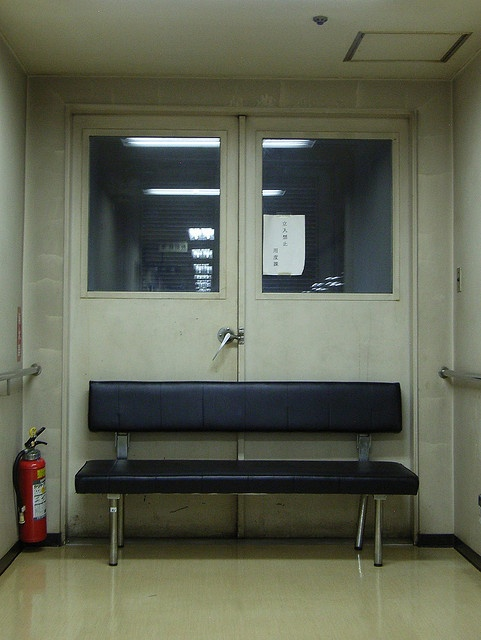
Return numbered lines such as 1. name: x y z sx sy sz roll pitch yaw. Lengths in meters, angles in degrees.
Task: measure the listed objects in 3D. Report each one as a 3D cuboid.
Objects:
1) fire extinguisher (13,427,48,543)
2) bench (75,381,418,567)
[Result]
1. fire extinguisher: -1.082 0.867 3.309 0.156 0.590 0.161 5 3 41
2. bench: 0.019 0.793 3.315 1.768 0.892 0.514 1 2 -1
